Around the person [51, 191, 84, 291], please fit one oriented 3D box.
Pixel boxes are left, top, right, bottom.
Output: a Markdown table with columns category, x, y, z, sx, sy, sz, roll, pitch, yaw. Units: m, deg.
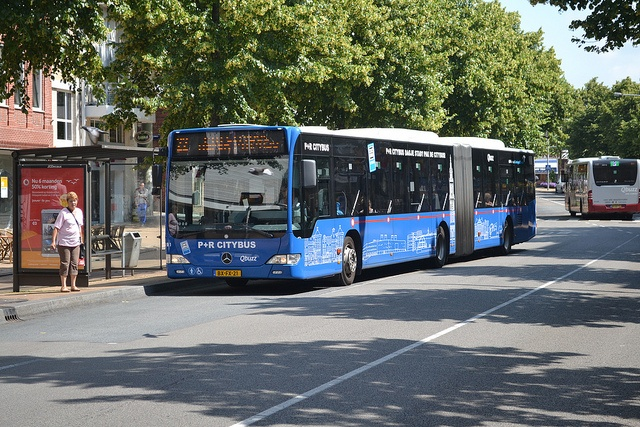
| category | x | y | z | sx | sy | sz | roll | pitch | yaw |
| --- | --- | --- | --- | --- | --- | --- | --- | --- | --- |
| person | -6.058 | 0.686 | 17.491 | 0.691 | 2.368 | 0.577 | 0 | -2 | -20 |

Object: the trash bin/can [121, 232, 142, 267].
| category | x | y | z | sx | sy | sz | roll | pitch | yaw |
| --- | --- | --- | --- | --- | --- | --- | --- | --- | --- |
| trash bin/can | -5.339 | 1.038 | 20.632 | 0.505 | 0.998 | 0.515 | -1 | -2 | -15 |

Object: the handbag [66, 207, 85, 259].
| category | x | y | z | sx | sy | sz | roll | pitch | yaw |
| --- | --- | --- | --- | --- | --- | --- | --- | --- | --- |
| handbag | -5.948 | 0.591 | 17.807 | 0.536 | 0.912 | 0.315 | -1 | 10 | -25 |
